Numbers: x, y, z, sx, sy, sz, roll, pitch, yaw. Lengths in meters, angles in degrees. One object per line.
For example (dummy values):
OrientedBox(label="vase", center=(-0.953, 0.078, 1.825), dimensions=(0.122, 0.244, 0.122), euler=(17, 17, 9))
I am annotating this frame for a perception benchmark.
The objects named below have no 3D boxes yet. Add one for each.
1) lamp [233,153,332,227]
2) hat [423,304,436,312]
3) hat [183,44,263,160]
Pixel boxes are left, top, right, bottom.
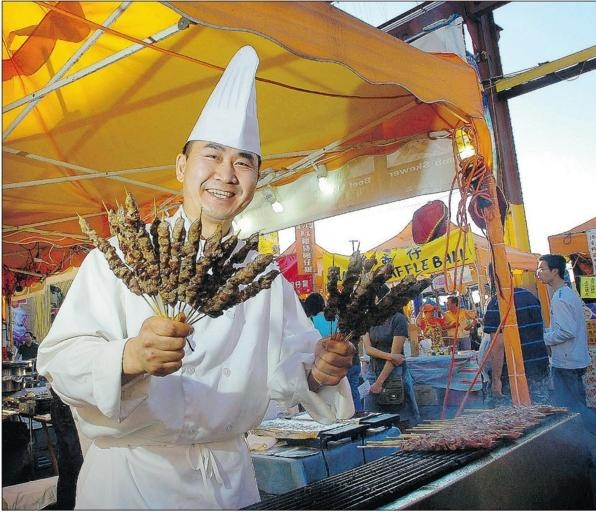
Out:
OrientedBox(label="lamp", center=(-0.231, -0.650, 5.071), dimensions=(1.535, 0.430, 0.522), euler=(-10, -55, 29))
OrientedBox(label="hat", center=(2.412, 0.936, 8.050), dimensions=(0.155, 0.154, 0.108), euler=(25, 7, -28))
OrientedBox(label="hat", center=(-0.313, -0.749, 2.176), dimensions=(0.377, 0.614, 0.308), euler=(11, -16, -11))
